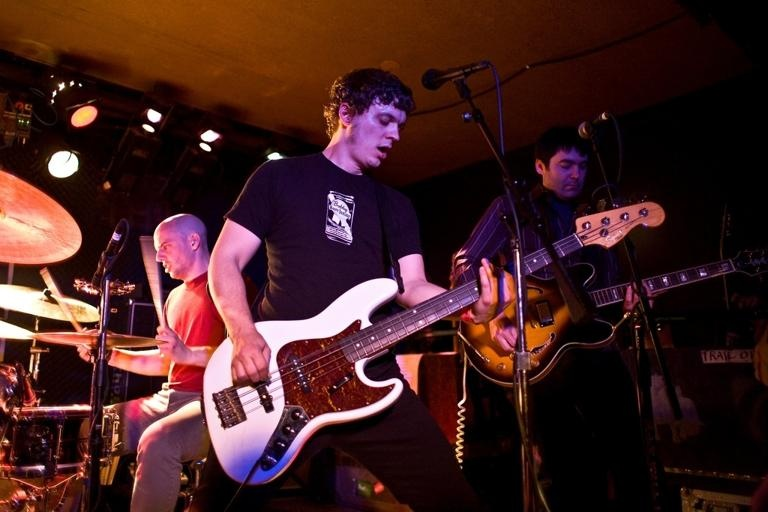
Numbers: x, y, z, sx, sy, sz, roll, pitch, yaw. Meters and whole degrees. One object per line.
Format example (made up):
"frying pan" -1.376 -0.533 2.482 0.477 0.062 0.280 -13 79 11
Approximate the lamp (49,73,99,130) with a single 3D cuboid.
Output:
"lamp" -3.629 -1.769 7.204 0.365 0.655 0.366 -12 -49 -44

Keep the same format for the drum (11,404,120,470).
"drum" -2.935 1.540 5.653 1.105 0.297 0.684 0 8 25
